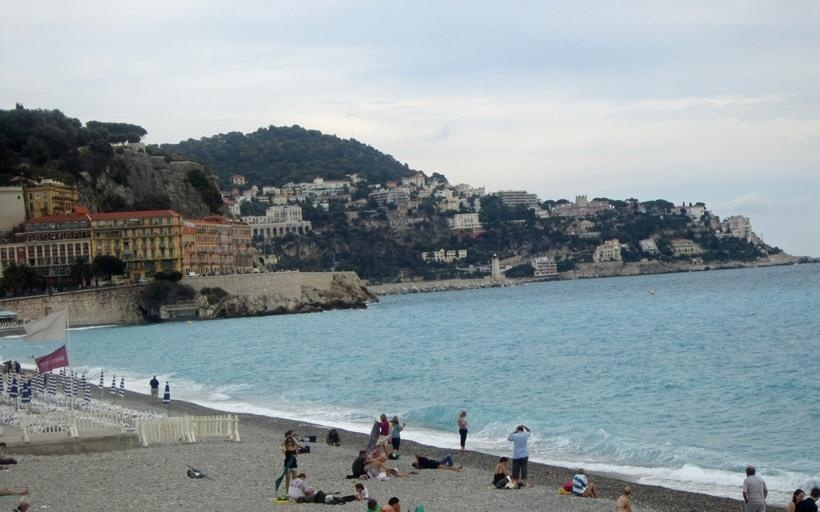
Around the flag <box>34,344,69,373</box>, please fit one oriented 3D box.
[{"bbox_3d":[-36.056,10.280,125.471,4.864,3.188,0.535,-7,3,22],"label":"flag"}]
